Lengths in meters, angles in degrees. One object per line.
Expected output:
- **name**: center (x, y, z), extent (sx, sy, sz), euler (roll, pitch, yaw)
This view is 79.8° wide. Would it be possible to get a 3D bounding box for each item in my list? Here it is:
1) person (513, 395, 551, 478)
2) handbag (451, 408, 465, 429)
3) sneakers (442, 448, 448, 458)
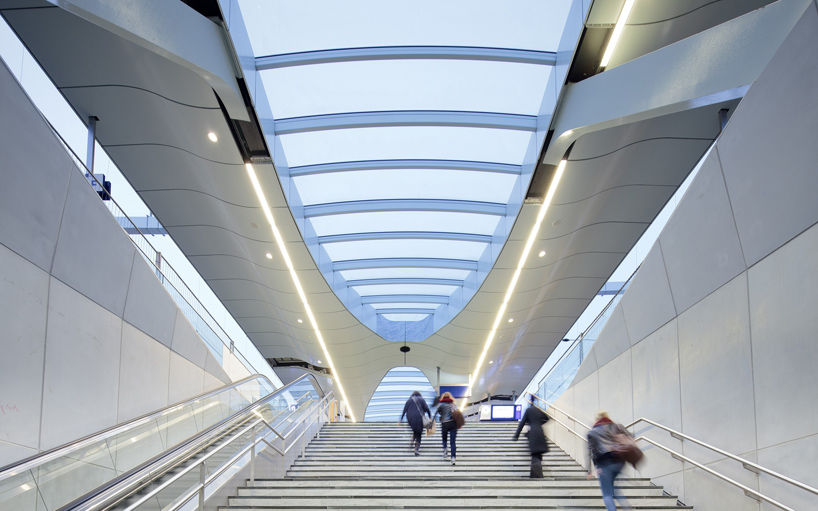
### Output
- **person**: center (2.556, 3.755, 10.056), extent (0.626, 1.914, 0.642), euler (9, -59, -2)
- **handbag**: center (1.088, 3.661, 10.769), extent (0.211, 0.408, 0.386), euler (-19, -63, 14)
- **sneakers**: center (0.796, 4.498, 10.898), extent (0.073, 0.109, 0.229), euler (1, -35, -2)
